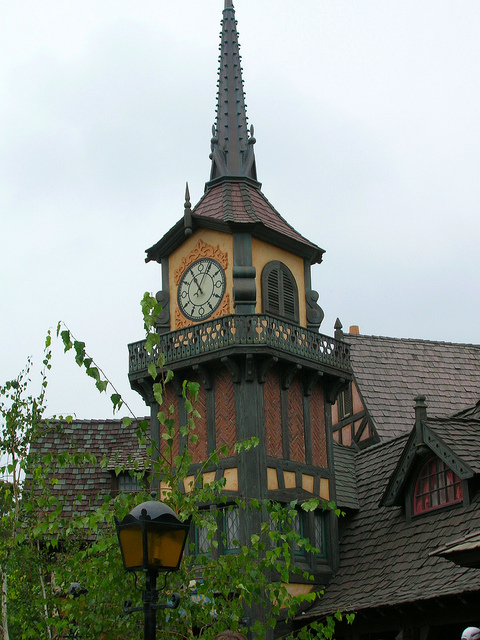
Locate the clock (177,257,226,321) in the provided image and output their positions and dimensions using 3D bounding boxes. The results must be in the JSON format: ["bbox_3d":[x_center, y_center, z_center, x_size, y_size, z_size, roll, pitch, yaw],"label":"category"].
[{"bbox_3d":[-0.679,-0.509,26.964,0.086,0.948,0.749,16,-26,-33],"label":"clock"}]

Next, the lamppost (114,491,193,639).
[{"bbox_3d":[-0.773,2.186,12.998,0.645,1.265,0.451,0,-16,-6],"label":"lamppost"}]
